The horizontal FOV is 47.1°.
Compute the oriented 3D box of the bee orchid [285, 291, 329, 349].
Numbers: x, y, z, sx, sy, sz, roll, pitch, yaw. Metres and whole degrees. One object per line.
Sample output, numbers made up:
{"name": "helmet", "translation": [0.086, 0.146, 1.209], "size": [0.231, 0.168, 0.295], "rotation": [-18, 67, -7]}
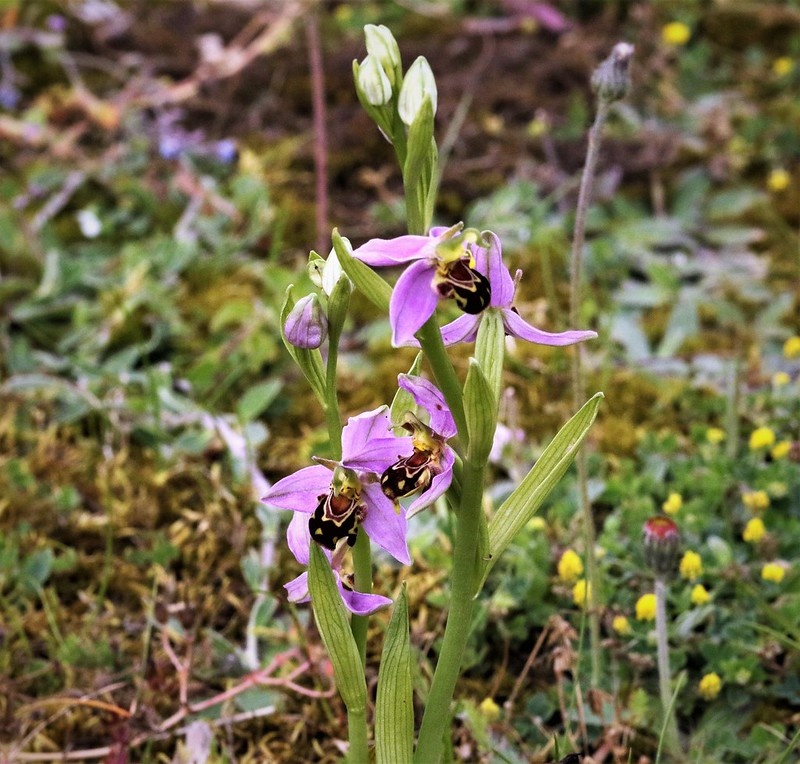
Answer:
{"name": "bee orchid", "translation": [-0.181, -0.124, 1.799], "size": [0.079, 0.111, 0.074], "rotation": [1, 29, -13]}

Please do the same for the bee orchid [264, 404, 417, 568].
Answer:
{"name": "bee orchid", "translation": [-0.088, 0.197, 1.846], "size": [0.233, 0.303, 0.144], "rotation": [44, 12, -15]}
